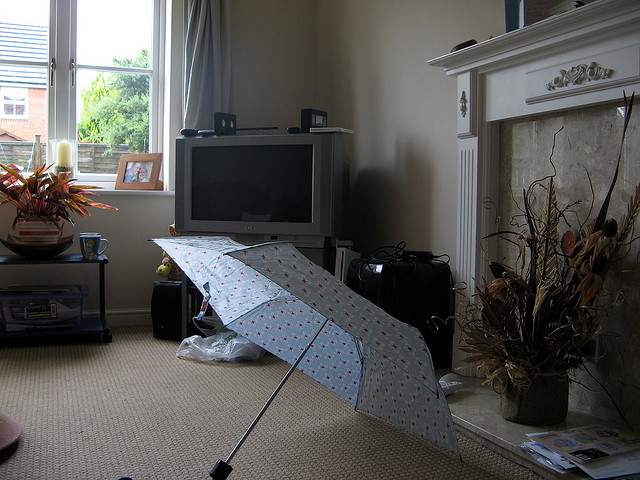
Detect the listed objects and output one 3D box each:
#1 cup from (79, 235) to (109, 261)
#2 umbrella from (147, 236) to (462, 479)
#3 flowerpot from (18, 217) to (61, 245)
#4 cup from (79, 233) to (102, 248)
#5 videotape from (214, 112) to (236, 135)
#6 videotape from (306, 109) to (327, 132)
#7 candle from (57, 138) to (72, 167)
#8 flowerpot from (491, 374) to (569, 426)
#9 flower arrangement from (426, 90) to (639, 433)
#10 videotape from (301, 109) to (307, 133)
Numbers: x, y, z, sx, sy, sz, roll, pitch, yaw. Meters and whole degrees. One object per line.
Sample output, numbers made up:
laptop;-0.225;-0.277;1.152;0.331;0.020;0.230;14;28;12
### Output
cup;-1.433;0.053;3.204;0.203;0.160;0.149;3;-4;-26
umbrella;-0.063;0.316;1.524;0.633;0.644;0.793;-5;8;-42
flowerpot;-1.720;-0.052;3.035;0.174;0.114;0.160;2;-1;-36
cup;-1.451;0.001;3.148;0.086;0.065;0.089;-1;5;0
videotape;-0.632;-0.780;3.315;0.058;0.139;0.154;3;6;44
videotape;-0.026;-0.782;3.234;0.064;0.167;0.185;5;7;35
candle;-1.779;-0.606;3.471;0.089;0.181;0.060;-3;7;-36
flowerpot;0.904;0.633;2.122;0.270;0.217;0.279;-1;5;21
flower arrangement;0.860;0.128;2.707;1.048;1.561;0.979;-2;-5;15
videotape;-0.101;-0.785;3.248;0.036;0.152;0.030;0;6;-4
